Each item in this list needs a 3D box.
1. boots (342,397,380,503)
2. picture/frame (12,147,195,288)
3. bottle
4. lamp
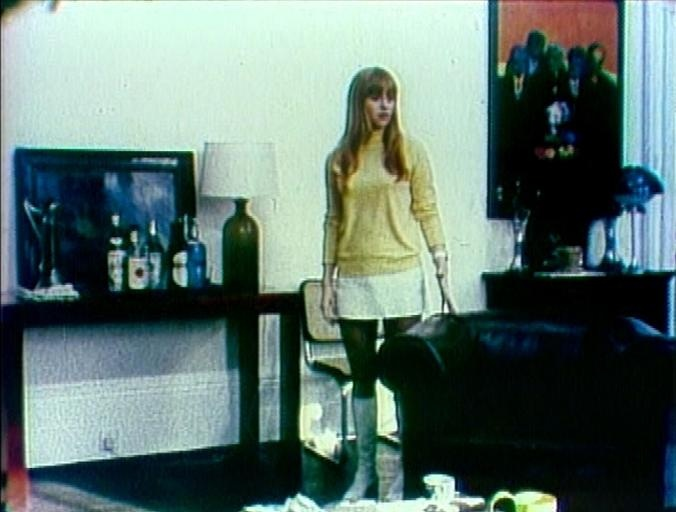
[{"bbox_3d":[0.109,0.870,4.133,0.145,0.503,0.103,11,-18,-31],"label":"boots"},{"bbox_3d":[-1.057,-0.175,3.962,0.498,0.515,0.041,0,1,-18],"label":"picture/frame"},{"bbox_3d":[-0.823,-0.013,4.011,0.279,0.317,0.102,0,-1,-20],"label":"bottle"},{"bbox_3d":[-0.439,-0.178,4.045,0.342,0.664,0.119,-2,3,-12],"label":"lamp"}]
